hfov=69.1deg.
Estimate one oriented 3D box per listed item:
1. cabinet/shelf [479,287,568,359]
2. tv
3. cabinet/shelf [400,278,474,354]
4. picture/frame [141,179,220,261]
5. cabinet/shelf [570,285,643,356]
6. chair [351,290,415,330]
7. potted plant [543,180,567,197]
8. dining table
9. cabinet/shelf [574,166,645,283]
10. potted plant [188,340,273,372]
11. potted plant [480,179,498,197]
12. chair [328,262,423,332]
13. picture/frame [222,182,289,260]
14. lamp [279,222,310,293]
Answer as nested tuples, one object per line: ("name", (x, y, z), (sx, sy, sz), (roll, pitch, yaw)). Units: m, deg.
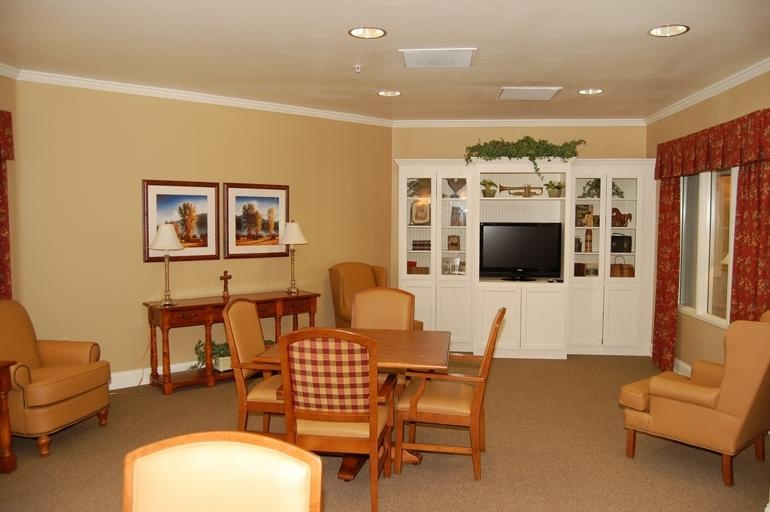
("cabinet/shelf", (1.974, 0.927, 7.695), (1.053, 0.851, 0.359), (0, -3, 4))
("tv", (1.981, -0.083, 8.114), (0.871, 0.574, 0.253), (1, 4, 3))
("cabinet/shelf", (0.735, 0.782, 7.249), (1.157, 1.054, 0.393), (0, -1, 6))
("picture/frame", (-2.599, -0.454, 6.979), (1.082, 1.196, 0.091), (-2, 7, -32))
("cabinet/shelf", (3.229, 0.888, 8.070), (1.083, 0.981, 0.402), (0, -1, 5))
("chair", (0.019, 0.534, 6.018), (0.499, 0.674, 0.482), (1, 0, 4))
("potted plant", (2.449, -0.956, 8.088), (0.248, 0.157, 0.240), (0, -1, -2))
("dining table", (-0.106, 1.535, 5.313), (1.824, 1.284, 1.417), (0, 3, 9))
("cabinet/shelf", (3.204, -0.431, 8.054), (0.927, 1.466, 0.465), (3, 15, 11))
("potted plant", (-2.161, 1.264, 7.230), (0.695, 0.415, 0.673), (0, -3, 8))
("potted plant", (1.494, -0.964, 8.230), (0.277, 0.262, 0.270), (0, -5, -2))
("chair", (-0.028, 0.537, 8.010), (0.931, 1.206, 1.160), (2, -6, -33))
("picture/frame", (-1.780, -0.471, 7.528), (1.111, 1.188, 0.057), (-1, 2, -35))
("lamp", (-1.246, 0.018, 7.596), (0.328, 0.982, 0.676), (-2, 14, -11))
